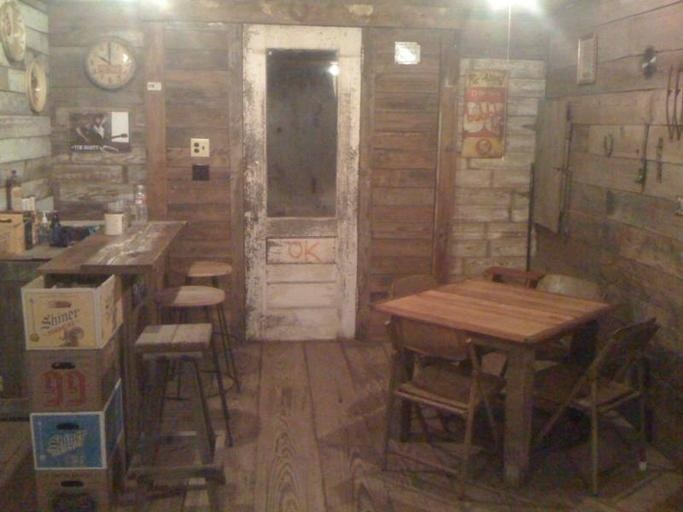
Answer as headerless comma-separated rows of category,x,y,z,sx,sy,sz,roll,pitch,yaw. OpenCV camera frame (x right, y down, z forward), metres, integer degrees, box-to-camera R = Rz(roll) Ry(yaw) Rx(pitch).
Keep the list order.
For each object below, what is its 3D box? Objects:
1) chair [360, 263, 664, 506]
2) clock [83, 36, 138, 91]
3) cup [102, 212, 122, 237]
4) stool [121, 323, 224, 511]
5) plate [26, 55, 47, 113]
chair,1.051,0.752,3.470,1.674,0.957,1.098,-5,15,-17
clock,-2.005,-1.665,4.877,0.436,0.419,0.088,8,9,-8
cup,-1.653,-0.223,4.085,0.157,0.165,0.146,2,5,0
stool,-0.964,0.850,3.314,0.572,0.853,1.039,-4,15,-12
plate,-2.498,-1.392,4.615,0.093,0.436,0.417,-5,15,-16
